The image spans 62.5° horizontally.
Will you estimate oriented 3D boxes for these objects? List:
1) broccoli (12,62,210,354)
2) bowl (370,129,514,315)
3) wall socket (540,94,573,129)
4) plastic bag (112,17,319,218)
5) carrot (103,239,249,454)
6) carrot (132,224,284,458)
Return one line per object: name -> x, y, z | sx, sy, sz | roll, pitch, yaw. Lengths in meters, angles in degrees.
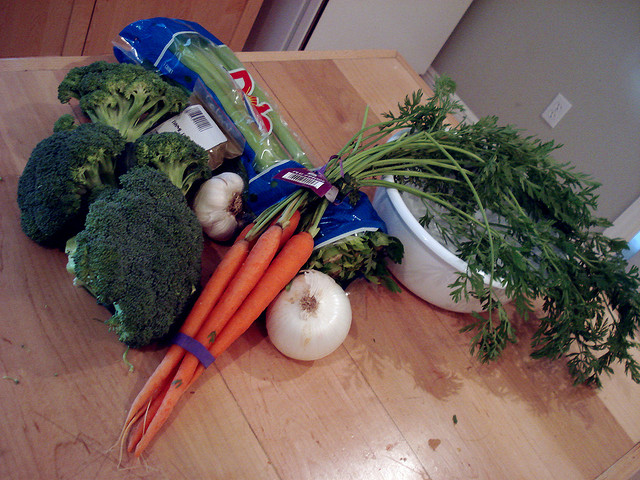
broccoli -> -0.575, -0.145, 1.412 | 0.475, 0.296, 0.797 | 22, 42, -51
bowl -> 0.311, -0.009, 1.531 | 0.383, 0.172, 0.397 | 26, 40, -24
wall socket -> 1.418, -0.770, 3.139 | 0.015, 0.186, 0.136 | -9, 52, -39
plastic bag -> -0.375, -0.317, 1.721 | 0.454, 0.192, 0.766 | -26, 82, -48
carrot -> -0.365, 0.275, 1.296 | 0.047, 0.587, 0.055 | 37, -14, -22
carrot -> -0.287, 0.267, 1.323 | 0.066, 0.622, 0.067 | 28, -13, 13
